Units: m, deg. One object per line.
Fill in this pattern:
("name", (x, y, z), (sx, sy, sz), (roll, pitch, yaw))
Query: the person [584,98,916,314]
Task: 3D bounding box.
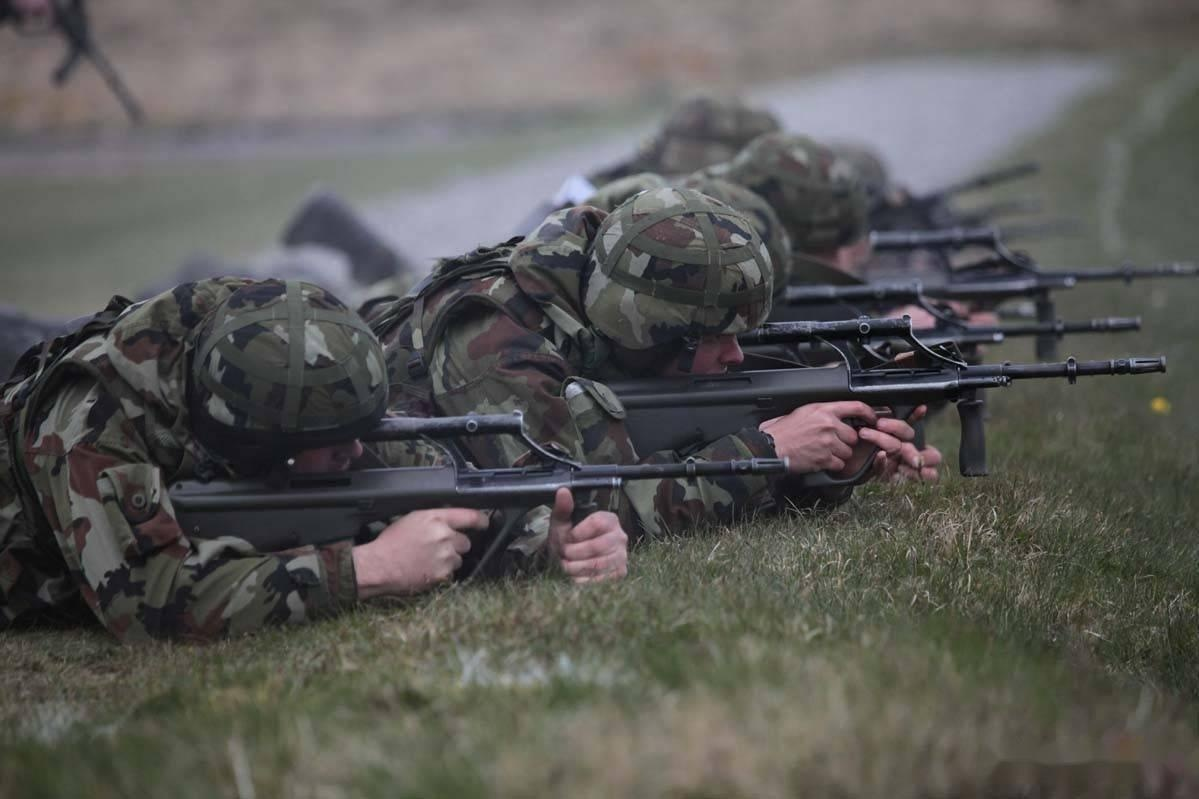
("person", (1.128, -1.531, 11.077), (2.162, 1.238, 1.650), (12, 51, 2))
